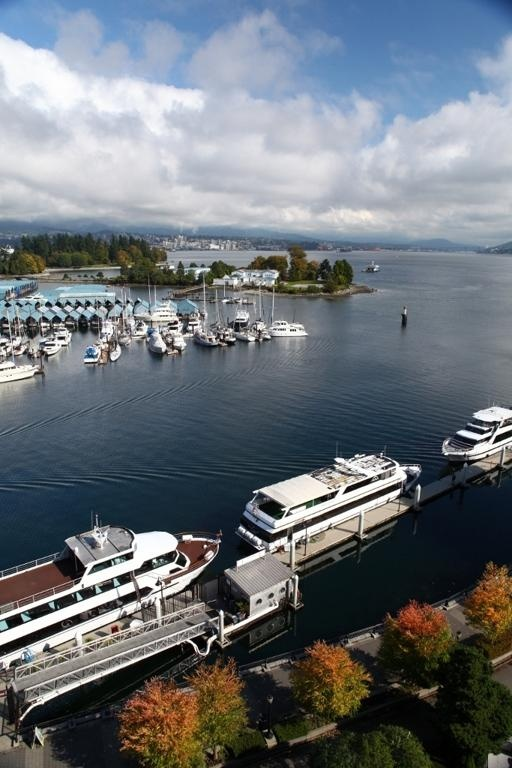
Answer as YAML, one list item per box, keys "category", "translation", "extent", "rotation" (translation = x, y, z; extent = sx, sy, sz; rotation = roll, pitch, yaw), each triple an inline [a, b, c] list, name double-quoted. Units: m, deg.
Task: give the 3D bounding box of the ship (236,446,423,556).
- category: "ship"
  translation: [5.382, 6.286, 38.338]
  extent: [14.804, 3.271, 3.804]
  rotation: [-19, 31, -30]

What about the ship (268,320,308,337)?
- category: "ship"
  translation: [4.881, -8.447, 100.644]
  extent: [4.852, 1.787, 3.202]
  rotation: [2, 15, -1]

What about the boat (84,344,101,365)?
- category: "boat"
  translation: [-21.117, -3.625, 81.588]
  extent: [1.907, 1.961, 3.230]
  rotation: [-2, 9, -8]
